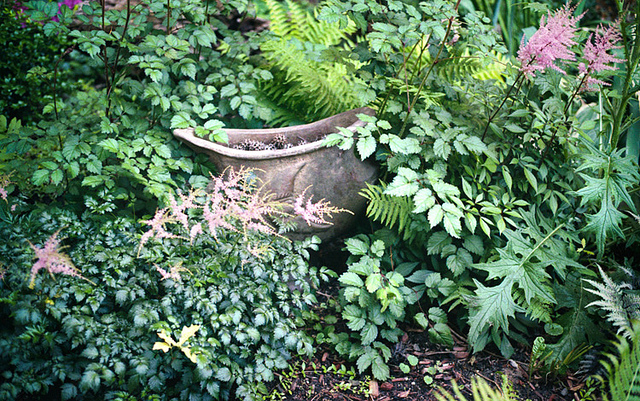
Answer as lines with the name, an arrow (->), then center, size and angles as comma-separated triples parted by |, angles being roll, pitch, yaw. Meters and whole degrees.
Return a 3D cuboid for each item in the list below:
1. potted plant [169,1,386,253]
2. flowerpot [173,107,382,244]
potted plant -> -0.323, -0.823, 5.226 | 2.027, 1.144, 2.286 | -13, 37, -32
flowerpot -> -0.331, -0.239, 5.189 | 1.470, 1.033, 1.064 | -5, 3, -12
